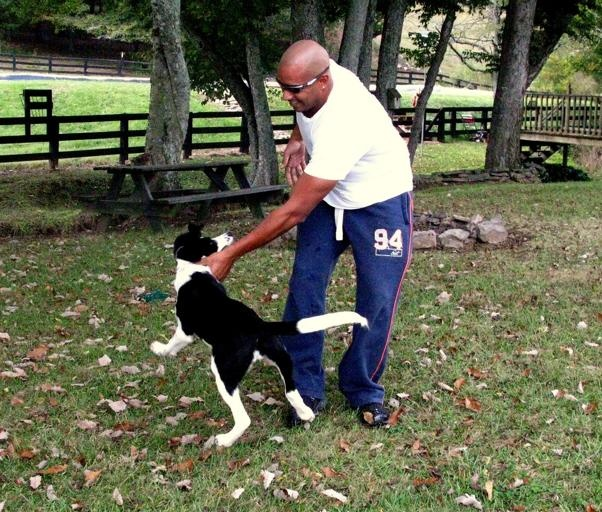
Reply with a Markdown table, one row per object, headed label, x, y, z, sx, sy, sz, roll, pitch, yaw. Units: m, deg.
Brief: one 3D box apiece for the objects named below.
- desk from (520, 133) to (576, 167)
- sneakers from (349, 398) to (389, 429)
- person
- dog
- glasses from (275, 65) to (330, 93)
| label | x | y | z | sx | sy | sz | roll | pitch | yaw |
| --- | --- | --- | --- | --- | --- | --- | --- | --- | --- |
| desk | 7.119 | -3.234 | 18.719 | 1.847 | 0.864 | 1.167 | 18 | 28 | 40 |
| sneakers | 0.502 | 1.108 | 4.476 | 0.120 | 0.106 | 0.243 | -4 | -1 | -35 |
| person | -0.057 | -0.063 | 4.389 | 1.544 | 2.620 | 1.032 | -13 | 21 | -32 |
| dog | -0.454 | 0.309 | 4.522 | 0.804 | 1.075 | 1.906 | -20 | 56 | -36 |
| glasses | 0.032 | -1.066 | 3.871 | 0.202 | 0.052 | 0.195 | -38 | 37 | -14 |
